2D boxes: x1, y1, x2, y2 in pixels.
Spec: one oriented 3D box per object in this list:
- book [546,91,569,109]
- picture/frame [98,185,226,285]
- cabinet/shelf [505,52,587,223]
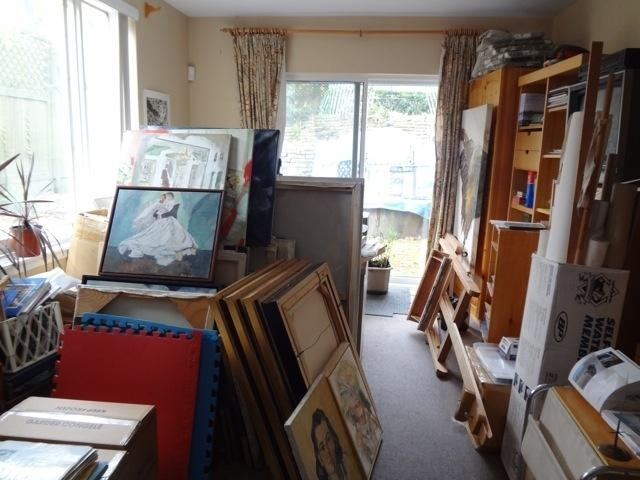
[{"bbox_3d":[1.897,-1.103,3.519,0.112,0.057,0.154,-7,9,6],"label":"book"},{"bbox_3d":[-1.030,-0.012,2.943,0.592,0.536,0.061,5,-20,5],"label":"picture/frame"},{"bbox_3d":[1.956,-0.789,3.866,0.324,1.419,0.862,3,14,5],"label":"cabinet/shelf"}]
